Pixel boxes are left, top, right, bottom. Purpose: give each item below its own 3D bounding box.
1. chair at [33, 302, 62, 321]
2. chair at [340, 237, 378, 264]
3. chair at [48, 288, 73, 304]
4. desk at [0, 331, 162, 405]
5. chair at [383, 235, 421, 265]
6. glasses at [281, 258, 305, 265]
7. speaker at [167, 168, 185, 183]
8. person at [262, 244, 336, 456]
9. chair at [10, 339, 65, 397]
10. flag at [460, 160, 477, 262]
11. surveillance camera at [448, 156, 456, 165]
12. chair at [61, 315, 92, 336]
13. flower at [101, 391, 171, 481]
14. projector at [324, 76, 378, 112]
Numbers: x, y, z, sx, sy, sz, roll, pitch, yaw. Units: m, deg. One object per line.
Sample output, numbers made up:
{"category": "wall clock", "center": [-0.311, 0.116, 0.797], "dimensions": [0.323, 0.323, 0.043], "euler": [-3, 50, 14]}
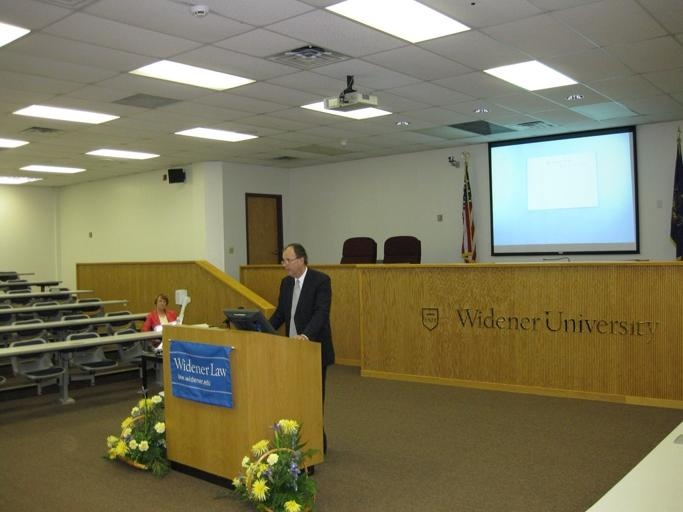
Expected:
{"category": "chair", "center": [-5.681, 1.099, 9.806], "dimensions": [0.409, 0.588, 0.491], "euler": [0, -6, -26]}
{"category": "chair", "center": [0.365, -0.024, 9.938], "dimensions": [0.490, 0.748, 0.567], "euler": [-2, -8, 19]}
{"category": "chair", "center": [-6.462, 0.915, 11.648], "dimensions": [0.469, 0.553, 0.451], "euler": [3, -11, -21]}
{"category": "desk", "center": [-3.482, 1.467, 6.721], "dimensions": [1.772, 0.868, 0.974], "euler": [-3, 3, -40]}
{"category": "chair", "center": [1.120, -0.128, 9.547], "dimensions": [0.478, 0.757, 0.596], "euler": [-2, -9, 20]}
{"category": "glasses", "center": [-0.416, 0.041, 4.521], "dimensions": [0.225, 0.067, 0.121], "euler": [-2, 3, -23]}
{"category": "speaker", "center": [-4.236, -2.043, 13.071], "dimensions": [0.537, 0.430, 0.306], "euler": [2, 4, 19]}
{"category": "person", "center": [-0.403, 0.900, 4.644], "dimensions": [0.735, 1.952, 0.710], "euler": [-5, 7, -35]}
{"category": "chair", "center": [-3.990, 1.459, 6.650], "dimensions": [0.544, 0.671, 0.517], "euler": [0, 4, 27]}
{"category": "flag", "center": [2.884, -1.086, 11.545], "dimensions": [0.343, 2.429, 0.406], "euler": [0, 3, 15]}
{"category": "surveillance camera", "center": [2.490, -2.170, 11.512], "dimensions": [0.214, 0.212, 0.205], "euler": [0, 5, 16]}
{"category": "chair", "center": [-4.452, 1.177, 8.504], "dimensions": [0.461, 0.578, 0.487], "euler": [2, -8, -27]}
{"category": "flower", "center": [-1.823, 1.568, 4.650], "dimensions": [0.680, 0.665, 0.345], "euler": [0, 3, 29]}
{"category": "projector", "center": [0.110, -2.268, 7.080], "dimensions": [0.395, 0.474, 0.650], "euler": [-3, 6, -41]}
